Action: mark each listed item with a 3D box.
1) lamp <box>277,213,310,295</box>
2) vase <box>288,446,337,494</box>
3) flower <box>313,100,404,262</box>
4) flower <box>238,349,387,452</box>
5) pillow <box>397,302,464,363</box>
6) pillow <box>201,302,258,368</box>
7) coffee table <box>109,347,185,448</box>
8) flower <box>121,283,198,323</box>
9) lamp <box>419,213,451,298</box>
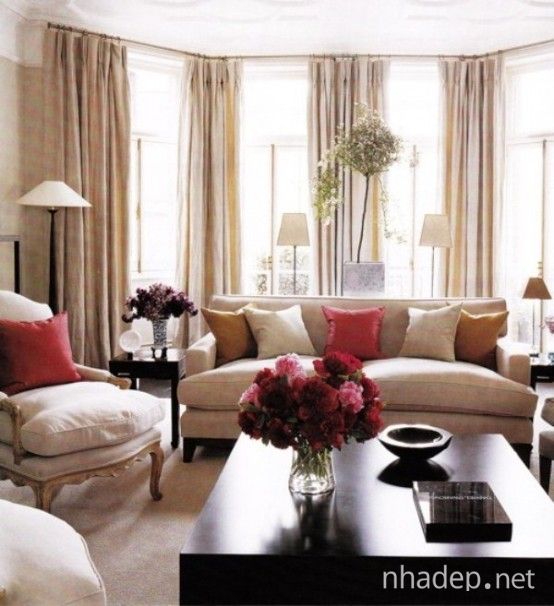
[{"bbox_3d":[0.133,-0.267,4.671,0.202,0.913,0.207,-6,15,-22],"label":"lamp"},{"bbox_3d":[0.107,0.496,1.882,0.133,0.179,0.134,4,6,42],"label":"vase"},{"bbox_3d":[0.625,-0.912,4.521,0.415,0.952,0.434,2,-22,2],"label":"flower"},{"bbox_3d":[0.142,0.312,1.880,0.349,0.368,0.408,-7,4,2],"label":"flower"},{"bbox_3d":[0.885,0.185,3.461,0.254,0.295,0.098,2,-22,36],"label":"pillow"},{"bbox_3d":[-0.259,0.208,3.593,0.345,0.362,0.191,4,-12,-44],"label":"pillow"},{"bbox_3d":[-0.690,0.555,3.569,0.523,0.614,0.433,0,-1,1],"label":"coffee table"},{"bbox_3d":[-0.694,-0.002,3.626,0.423,0.274,0.425,-1,-8,16],"label":"flower"},{"bbox_3d":[1.355,-0.377,5.188,0.231,0.778,0.955,3,11,15],"label":"lamp"}]
